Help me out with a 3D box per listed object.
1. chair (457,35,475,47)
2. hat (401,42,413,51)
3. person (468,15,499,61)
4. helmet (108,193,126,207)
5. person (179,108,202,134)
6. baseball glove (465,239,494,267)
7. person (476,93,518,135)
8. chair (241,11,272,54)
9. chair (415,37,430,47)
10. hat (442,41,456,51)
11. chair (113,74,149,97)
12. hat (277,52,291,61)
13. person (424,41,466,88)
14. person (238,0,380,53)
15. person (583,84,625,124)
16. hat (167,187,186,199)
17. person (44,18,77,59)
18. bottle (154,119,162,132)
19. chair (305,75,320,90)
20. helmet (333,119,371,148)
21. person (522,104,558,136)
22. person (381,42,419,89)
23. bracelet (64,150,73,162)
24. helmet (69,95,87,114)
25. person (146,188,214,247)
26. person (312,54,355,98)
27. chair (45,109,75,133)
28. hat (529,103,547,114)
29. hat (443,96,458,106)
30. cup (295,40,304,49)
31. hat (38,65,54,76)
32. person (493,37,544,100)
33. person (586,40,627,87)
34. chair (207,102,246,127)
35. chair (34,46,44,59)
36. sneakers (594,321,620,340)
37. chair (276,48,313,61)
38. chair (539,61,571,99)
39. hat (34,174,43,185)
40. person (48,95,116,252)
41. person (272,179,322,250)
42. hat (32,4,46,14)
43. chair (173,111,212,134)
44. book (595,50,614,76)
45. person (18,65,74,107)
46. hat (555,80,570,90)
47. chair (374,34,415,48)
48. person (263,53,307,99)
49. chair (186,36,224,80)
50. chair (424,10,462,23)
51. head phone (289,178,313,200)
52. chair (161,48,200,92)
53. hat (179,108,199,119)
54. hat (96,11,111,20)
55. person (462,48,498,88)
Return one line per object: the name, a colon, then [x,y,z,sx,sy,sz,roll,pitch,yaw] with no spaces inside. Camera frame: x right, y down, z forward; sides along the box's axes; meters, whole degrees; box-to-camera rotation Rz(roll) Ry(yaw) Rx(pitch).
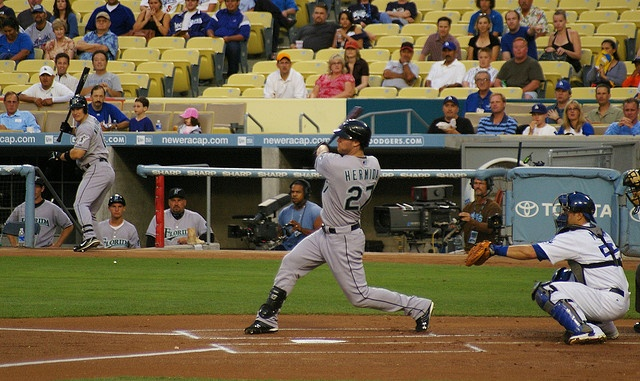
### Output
chair: [3.720,-3.771,34.277,0.340,0.376,0.334,-1,-7,6]
hat: [2.147,-3.522,33.062,0.280,0.218,0.406,1,-2,2]
person: [4.025,-3.698,33.300,0.894,1.175,0.822,3,10,35]
helmet: [-4.477,0.213,29.527,0.287,0.193,0.371,2,-16,-11]
person: [-3.104,-1.628,32.153,0.549,0.657,0.724,0,8,-31]
baseball glove: [2.974,1.199,24.836,0.494,0.363,0.195,-33,-59,32]
person: [4.059,-1.711,30.589,0.899,0.888,0.727,1,-2,6]
chair: [-1.560,-4.144,35.637,1.092,1.191,1.030,1,1,11]
chair: [2.664,-3.819,34.835,0.329,0.339,0.283,2,-2,-6]
hat: [3.134,-3.490,32.610,0.305,0.218,0.304,1,-2,4]
chair: [-4.711,-2.644,33.551,0.712,0.706,0.626,0,-4,0]
hat: [-0.890,-3.236,32.731,0.454,0.199,0.594,1,3,-4]
person: [3.030,-2.989,32.752,1.105,1.220,1.062,-4,12,-21]
person: [-0.343,-4.259,35.456,2.212,1.237,0.866,0,-2,11]
person: [6.641,-1.958,31.108,1.188,0.931,0.572,2,-2,43]
hat: [-3.189,0.072,29.905,0.340,0.235,0.420,1,-2,-5]
person: [-6.787,-3.899,35.053,0.940,1.090,0.675,0,-2,12]
bottle: [-3.884,-1.554,32.226,0.172,0.273,0.222,1,-2,-2]
chair: [-0.219,-2.701,33.756,0.419,0.425,0.391,-1,-4,4]
helmet: [0.589,-1.053,24.953,0.673,0.436,0.462,-1,6,2]
person: [5.034,-1.561,30.758,0.946,0.747,0.604,-4,-5,21]
person: [1.993,-3.037,33.179,0.910,1.126,0.669,1,-2,3]
bracelet: [-5.344,-0.739,28.486,0.155,0.172,0.480,1,-2,-10]
helmet: [-5.146,-1.834,28.479,0.321,0.335,0.449,-2,-5,4]
person: [-3.176,0.810,29.903,1.608,1.671,0.955,-1,-9,5]
person: [0.321,-2.740,32.595,1.045,1.045,0.424,1,-2,1]
chair: [-6.280,-1.652,32.497,0.582,0.687,0.591,2,-6,-12]
hat: [5.023,-1.865,30.789,0.401,0.319,0.658,0,-2,9]
hat: [3.009,-2.047,30.834,0.323,0.244,0.585,1,-2,4]
cup: [-0.532,-3.790,35.185,0.194,0.187,0.194,1,-4,0]
hat: [-6.693,-2.912,32.877,0.346,0.277,0.529,1,-2,-12]
person: [4.757,-2.862,32.069,1.122,1.459,0.666,0,-2,13]
person: [6.945,-2.930,32.558,0.986,1.331,0.847,3,7,10]
chair: [-2.271,-1.840,32.829,0.654,0.779,0.695,1,-5,0]
chair: [-7.444,-3.607,35.517,0.284,0.302,0.248,3,5,6]
sneakers: [5.325,2.561,24.822,0.218,0.264,0.599,-1,-12,4]
chair: [-0.619,-3.464,34.646,0.749,0.233,0.537,-1,3,2]
chair: [5.759,-2.662,32.993,0.998,1.099,0.850,0,0,21]
hat: [-6.223,-0.234,29.650,0.241,0.102,0.261,11,4,-5]
person: [-4.904,-0.379,28.473,0.909,3.157,0.456,2,-3,-33]
person: [-0.542,0.573,29.085,1.168,1.516,1.238,2,5,31]
hat: [-7.423,-4.751,35.454,0.258,0.181,0.373,-1,7,2]
chair: [-3.084,-1.628,32.132,0.661,0.805,0.724,3,-2,6]
book: [6.803,-3.074,32.319,0.209,0.528,0.419,-9,43,-34]
person: [-6.722,-2.484,32.930,1.534,0.883,0.753,-1,11,12]
hat: [5.602,-2.403,30.936,0.307,0.259,0.322,1,-2,1]
chair: [1.934,-3.812,34.625,0.713,0.245,0.220,2,0,19]
person: [-0.883,-2.586,32.751,1.138,1.444,0.923,-2,-7,4]
chair: [-2.753,-3.429,34.983,1.323,1.224,1.020,0,-2,9]
chair: [3.270,-4.559,35.538,0.932,0.352,0.286,0,-2,9]
head phone: [-0.451,-0.037,29.453,0.556,0.450,0.208,1,3,16]
chair: [-3.418,-3.026,34.592,1.209,1.255,1.088,0,-4,9]
hat: [-3.075,-1.814,32.004,0.338,0.163,0.237,5,-3,-29]
hat: [-5.621,-4.491,34.710,0.322,0.226,0.386,1,-2,-10]
person: [3.907,-2.844,32.375,0.922,1.073,0.688,1,5,4]
